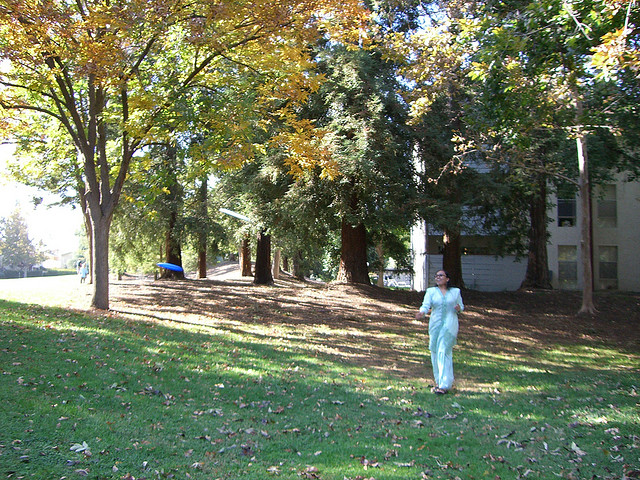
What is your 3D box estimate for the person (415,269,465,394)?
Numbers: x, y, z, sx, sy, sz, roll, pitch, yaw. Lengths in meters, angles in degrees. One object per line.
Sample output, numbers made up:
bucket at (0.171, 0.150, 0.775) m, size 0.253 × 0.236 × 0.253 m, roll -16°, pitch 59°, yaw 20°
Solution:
person at (2.597, 1.963, 12.212) m, size 0.861 × 2.585 × 0.751 m, roll 3°, pitch 5°, yaw 11°
